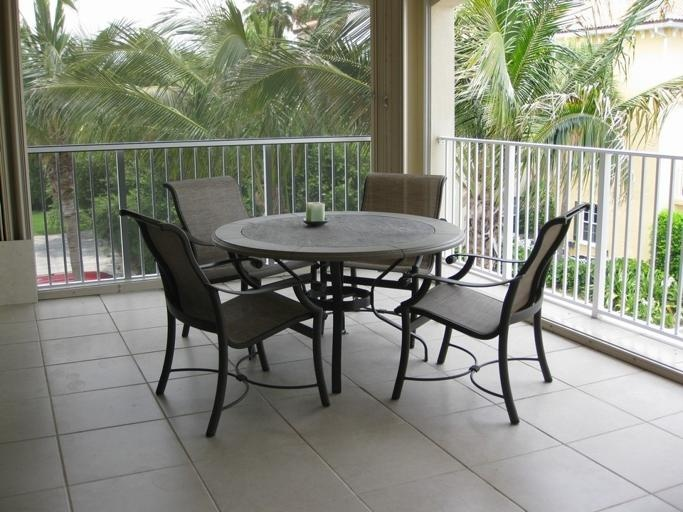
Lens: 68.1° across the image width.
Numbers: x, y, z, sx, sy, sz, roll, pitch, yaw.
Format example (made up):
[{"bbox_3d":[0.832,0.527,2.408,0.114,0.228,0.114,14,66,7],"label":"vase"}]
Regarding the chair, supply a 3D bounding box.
[{"bbox_3d":[0.375,0.196,3.006,1.934,1.063,1.066,2,14,9],"label":"chair"}]
